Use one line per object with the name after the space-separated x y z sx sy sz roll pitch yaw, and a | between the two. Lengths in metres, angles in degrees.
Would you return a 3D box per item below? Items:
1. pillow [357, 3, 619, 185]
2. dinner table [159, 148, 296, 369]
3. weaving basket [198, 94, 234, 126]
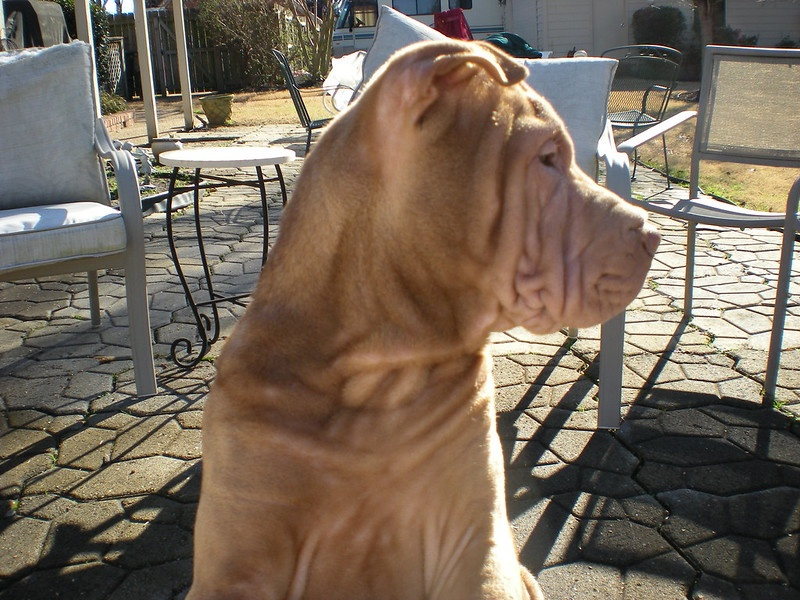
0.570 -1.183 3.729 1.133 1.130 0.348 18 23 13 | pillow
-0.956 -0.216 3.803 0.708 1.132 0.767 0 8 4 | dinner table
-3.696 -3.865 13.956 0.726 0.589 0.731 7 24 18 | weaving basket
